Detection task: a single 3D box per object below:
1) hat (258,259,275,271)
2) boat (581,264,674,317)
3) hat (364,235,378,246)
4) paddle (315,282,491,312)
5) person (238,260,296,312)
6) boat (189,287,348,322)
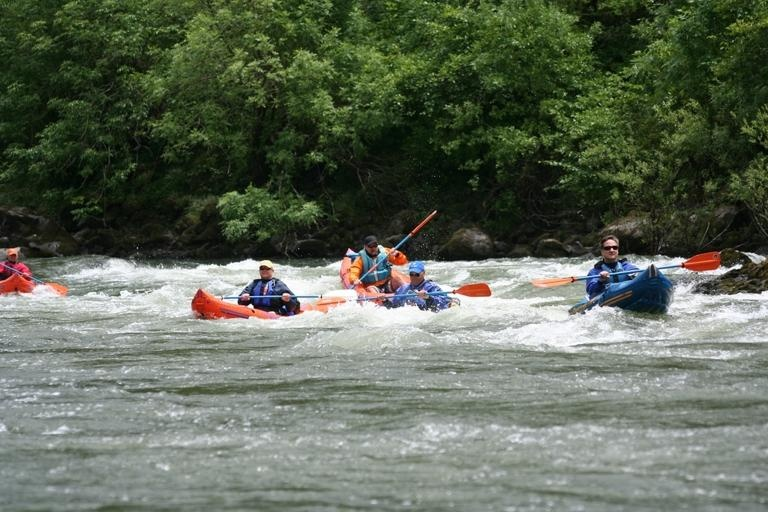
[{"bbox_3d":[-2.886,0.177,27.589,0.309,0.171,0.376,-2,-10,3],"label":"hat"},{"bbox_3d":[5.671,0.932,26.119,1.028,0.479,1.688,-4,-16,-42],"label":"boat"},{"bbox_3d":[-0.401,-0.406,29.729,0.231,0.163,0.357,-19,-10,-38],"label":"hat"},{"bbox_3d":[0.528,1.004,27.916,3.924,0.339,0.612,-2,18,2],"label":"paddle"},{"bbox_3d":[-3.112,0.795,29.686,1.249,0.773,1.373,-8,49,-2],"label":"person"},{"bbox_3d":[-2.706,1.263,27.525,4.595,0.890,1.212,4,4,-21],"label":"boat"}]
